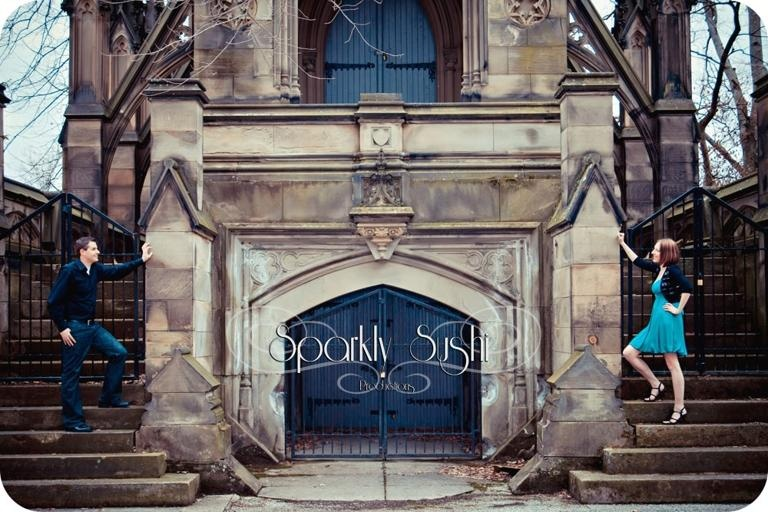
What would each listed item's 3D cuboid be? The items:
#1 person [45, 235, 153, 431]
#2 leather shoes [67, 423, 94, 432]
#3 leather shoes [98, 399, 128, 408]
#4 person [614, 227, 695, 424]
[{"bbox_3d":[-5.085,1.379,22.428,1.483,3.335,0.789,1,-11,-16],"label":"person"},{"bbox_3d":[-5.258,2.995,22.376,0.468,0.191,0.168,-1,-4,-1],"label":"leather shoes"},{"bbox_3d":[-4.714,2.614,22.655,0.552,0.226,0.183,0,-3,-5],"label":"leather shoes"},{"bbox_3d":[4.786,1.250,22.548,1.211,3.408,0.871,-4,-11,14],"label":"person"}]
